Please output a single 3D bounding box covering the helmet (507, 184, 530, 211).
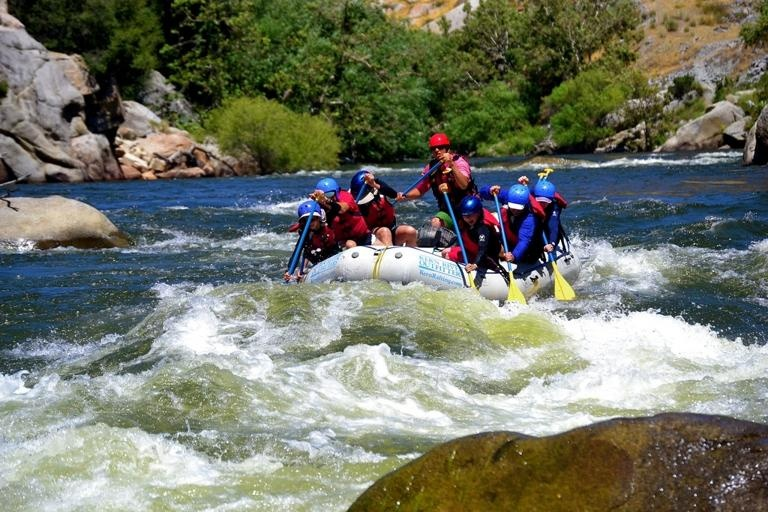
[{"bbox_3d":[2.606,-1.150,17.683,0.314,0.282,0.539,13,39,7],"label":"helmet"}]

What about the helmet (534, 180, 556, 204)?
[{"bbox_3d":[3.171,-1.304,18.007,0.404,0.434,0.370,-1,14,5],"label":"helmet"}]

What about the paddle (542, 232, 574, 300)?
[{"bbox_3d":[3.396,0.186,18.126,0.408,0.103,1.901,-3,41,-4],"label":"paddle"}]

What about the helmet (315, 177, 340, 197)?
[{"bbox_3d":[-1.161,-1.353,18.116,0.326,0.372,0.445,6,37,43],"label":"helmet"}]

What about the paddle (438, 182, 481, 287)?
[{"bbox_3d":[1.477,-0.311,17.850,0.321,2.355,0.276,-7,-19,-27],"label":"paddle"}]

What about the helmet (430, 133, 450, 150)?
[{"bbox_3d":[1.099,-2.382,18.562,0.395,0.260,0.503,-12,-8,4],"label":"helmet"}]

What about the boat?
[{"bbox_3d":[1.090,0.347,17.457,3.124,0.566,1.926,9,0,-22],"label":"boat"}]
